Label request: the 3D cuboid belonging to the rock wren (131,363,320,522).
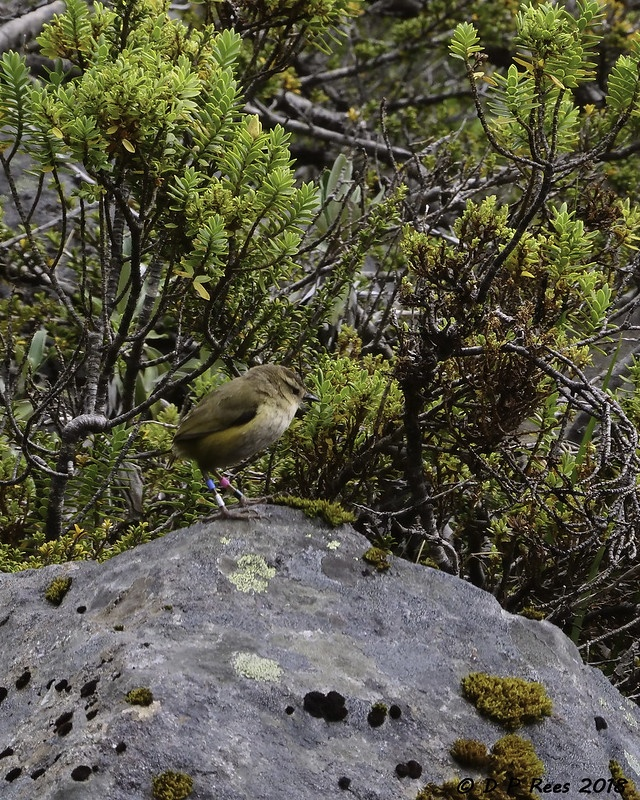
[{"bbox_3d":[-0.342,0.096,4.151,0.331,0.474,0.488,28,17,19],"label":"rock wren"}]
